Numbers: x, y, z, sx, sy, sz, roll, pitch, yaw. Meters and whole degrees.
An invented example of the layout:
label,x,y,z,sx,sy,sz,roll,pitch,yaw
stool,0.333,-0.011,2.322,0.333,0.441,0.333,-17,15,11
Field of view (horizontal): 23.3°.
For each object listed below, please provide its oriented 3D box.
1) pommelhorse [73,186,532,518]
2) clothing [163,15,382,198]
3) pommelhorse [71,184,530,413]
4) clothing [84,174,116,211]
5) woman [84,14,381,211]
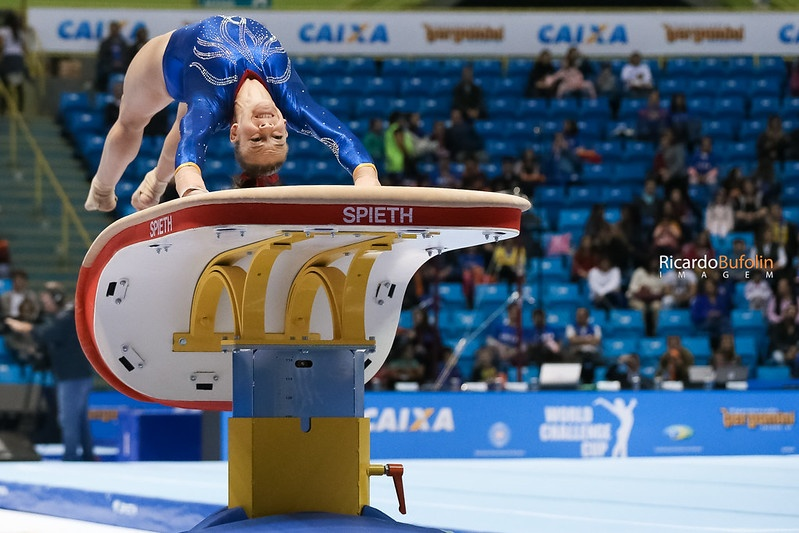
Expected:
label,x,y,z,sx,sy,sz,roll,pitch,yaw
pommelhorse,-1.483,0.582,18.978,3.432,2.815,3.527,2,-3,-23
clothing,-1.479,-1.623,18.876,1.500,0.955,2.043,-8,15,-14
pommelhorse,-1.419,0.115,18.466,2.621,1.286,2.808,2,-4,-31
clothing,-3.097,-0.746,20.172,0.254,0.149,0.408,24,-35,-17
woman,-1.695,-1.569,19.046,1.419,1.527,3.386,-6,1,-25
